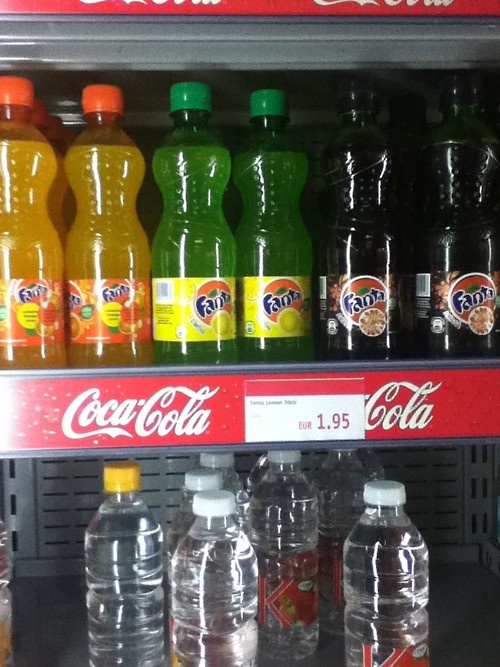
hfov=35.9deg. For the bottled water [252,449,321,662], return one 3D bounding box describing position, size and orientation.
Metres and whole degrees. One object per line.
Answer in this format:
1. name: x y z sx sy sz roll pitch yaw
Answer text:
1. bottled water: 0.059 0.351 1.299 0.118 0.328 0.219 -4 2 4
